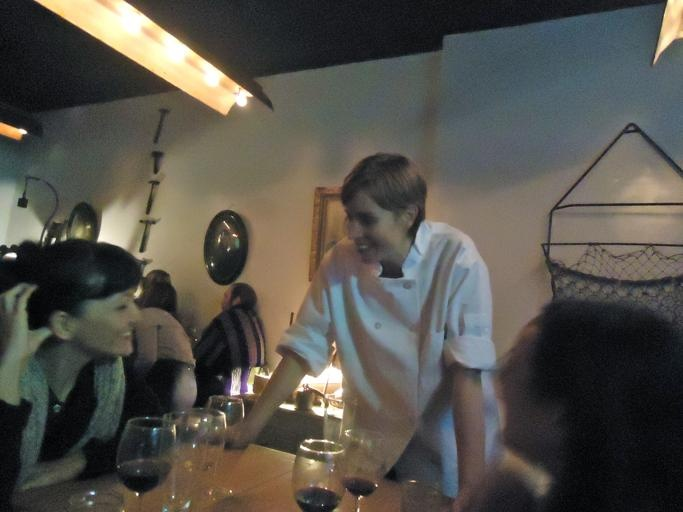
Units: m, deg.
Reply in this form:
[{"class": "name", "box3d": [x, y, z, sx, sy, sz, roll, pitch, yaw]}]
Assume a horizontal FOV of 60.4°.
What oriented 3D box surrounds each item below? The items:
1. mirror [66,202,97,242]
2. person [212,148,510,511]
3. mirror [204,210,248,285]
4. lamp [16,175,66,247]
[{"class": "mirror", "box3d": [-2.316, -0.323, 5.242, 0.435, 0.484, 0.086, 2, -3, 42]}, {"class": "person", "box3d": [0.136, 0.410, 2.312, 0.961, 1.597, 0.838, -1, 8, 17]}, {"class": "mirror", "box3d": [-0.900, -0.056, 4.628, 0.076, 0.599, 0.542, 6, -4, -39]}, {"class": "lamp", "box3d": [-2.745, -0.448, 5.376, 0.302, 0.565, 0.588, 7, -7, -16]}]
